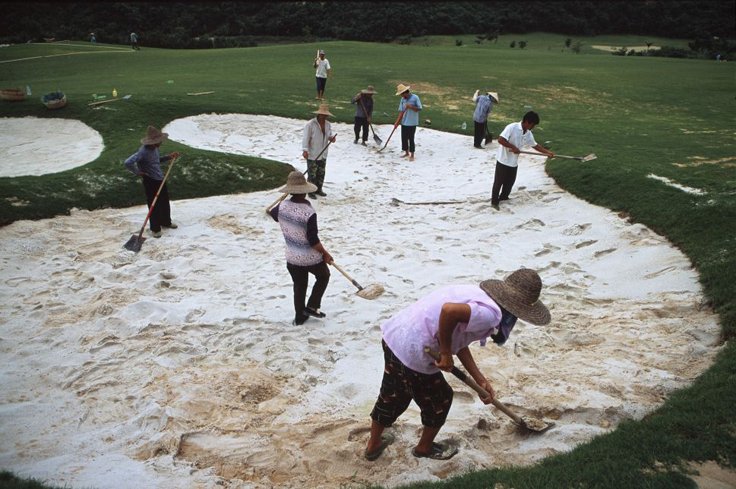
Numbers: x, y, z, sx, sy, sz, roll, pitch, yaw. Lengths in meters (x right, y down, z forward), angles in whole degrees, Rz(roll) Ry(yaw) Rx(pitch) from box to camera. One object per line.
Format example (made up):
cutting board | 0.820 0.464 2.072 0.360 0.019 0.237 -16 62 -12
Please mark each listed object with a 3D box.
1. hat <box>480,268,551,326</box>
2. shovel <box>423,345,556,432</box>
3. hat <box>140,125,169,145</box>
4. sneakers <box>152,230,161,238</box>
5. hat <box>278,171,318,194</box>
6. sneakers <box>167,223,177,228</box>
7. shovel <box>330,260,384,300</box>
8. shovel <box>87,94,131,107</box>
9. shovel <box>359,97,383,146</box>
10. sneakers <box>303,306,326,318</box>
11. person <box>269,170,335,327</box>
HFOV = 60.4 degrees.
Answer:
hat | 2.518 0.864 10.478 1.268 0.476 1.053 17 26 -1
shovel | 2.152 2.631 11.298 2.458 0.426 0.708 31 -3 -13
hat | -5.214 -2.666 15.496 0.542 0.410 0.522 -4 23 -11
sneakers | -5.233 -0.256 15.753 0.190 0.175 0.204 -4 -16 -5
hat | -1.325 -1.189 12.832 0.783 0.284 0.633 0 17 7
sneakers | -4.932 -0.489 16.109 0.280 0.068 0.164 -13 -14 -9
shovel | -0.280 0.873 13.510 1.265 0.220 0.626 39 36 7
shovel | -9.219 -5.180 23.018 0.508 0.256 1.855 21 14 22
shovel | 0.166 -4.259 22.093 0.748 2.097 0.355 -23 54 7
sneakers | -1.147 1.407 13.213 0.565 0.171 0.157 11 17 -11
person | -1.320 0.104 12.857 1.024 3.117 1.023 -7 28 -13
